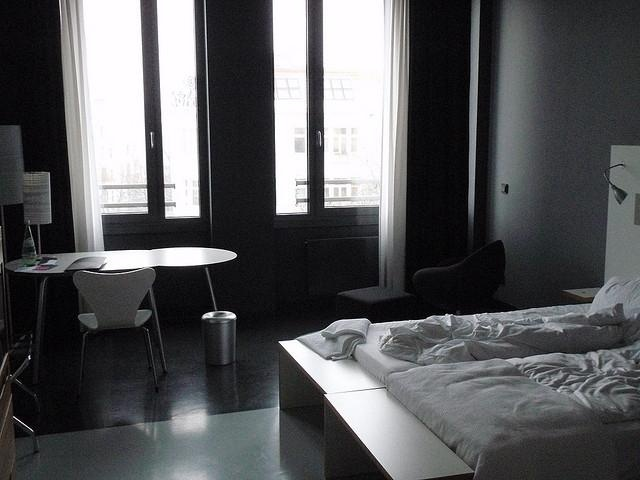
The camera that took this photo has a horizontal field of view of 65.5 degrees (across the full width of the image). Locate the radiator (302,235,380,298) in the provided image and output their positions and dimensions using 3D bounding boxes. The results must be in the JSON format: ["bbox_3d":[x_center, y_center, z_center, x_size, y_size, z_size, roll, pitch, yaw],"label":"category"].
[{"bbox_3d":[0.275,0.315,5.612,0.968,0.658,0.047,-1,3,-30],"label":"radiator"}]

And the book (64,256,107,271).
[{"bbox_3d":[-1.785,0.188,3.819,0.346,0.066,0.586,0,5,-12],"label":"book"}]

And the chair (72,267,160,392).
[{"bbox_3d":[-1.546,0.708,3.778,0.623,1.032,0.672,-3,23,-19],"label":"chair"}]

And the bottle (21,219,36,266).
[{"bbox_3d":[-2.259,0.026,3.861,0.088,0.298,0.263,-6,12,-32],"label":"bottle"}]
